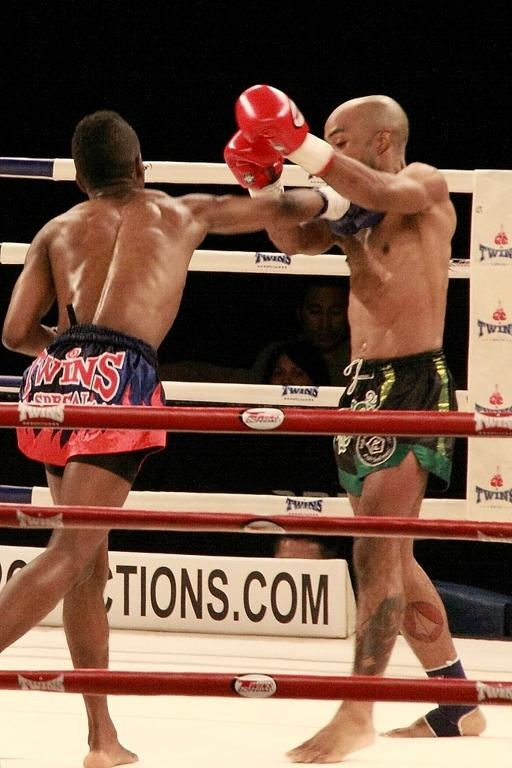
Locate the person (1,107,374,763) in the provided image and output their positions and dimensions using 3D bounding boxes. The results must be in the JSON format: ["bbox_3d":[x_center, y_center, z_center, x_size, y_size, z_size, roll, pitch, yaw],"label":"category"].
[{"bbox_3d":[-0.227,0.071,1.660,0.601,1.313,0.477,3,-5,-4],"label":"person"}]

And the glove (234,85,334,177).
[{"bbox_3d":[0.062,-0.494,1.750,0.086,0.207,0.149,9,58,49],"label":"glove"}]
